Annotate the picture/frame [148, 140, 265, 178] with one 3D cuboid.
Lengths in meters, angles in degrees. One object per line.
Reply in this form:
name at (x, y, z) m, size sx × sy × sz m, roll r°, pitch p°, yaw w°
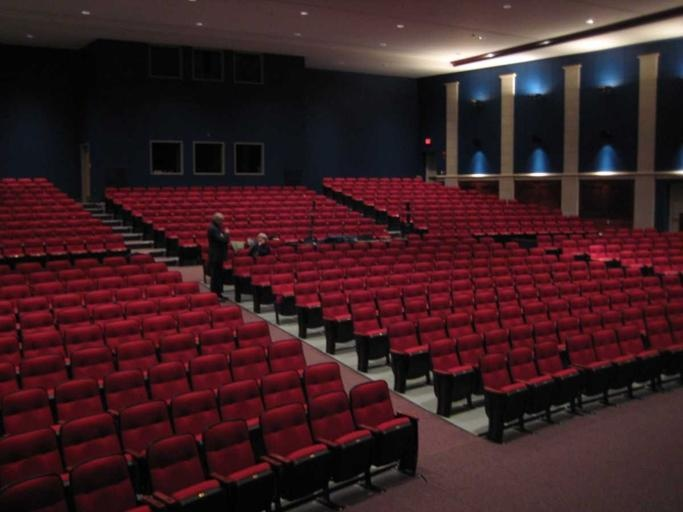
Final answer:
picture/frame at (-4.813, -3.535, 18.395) m, size 3.918 × 1.243 × 0.331 m, roll -4°, pitch 8°, yaw -22°
